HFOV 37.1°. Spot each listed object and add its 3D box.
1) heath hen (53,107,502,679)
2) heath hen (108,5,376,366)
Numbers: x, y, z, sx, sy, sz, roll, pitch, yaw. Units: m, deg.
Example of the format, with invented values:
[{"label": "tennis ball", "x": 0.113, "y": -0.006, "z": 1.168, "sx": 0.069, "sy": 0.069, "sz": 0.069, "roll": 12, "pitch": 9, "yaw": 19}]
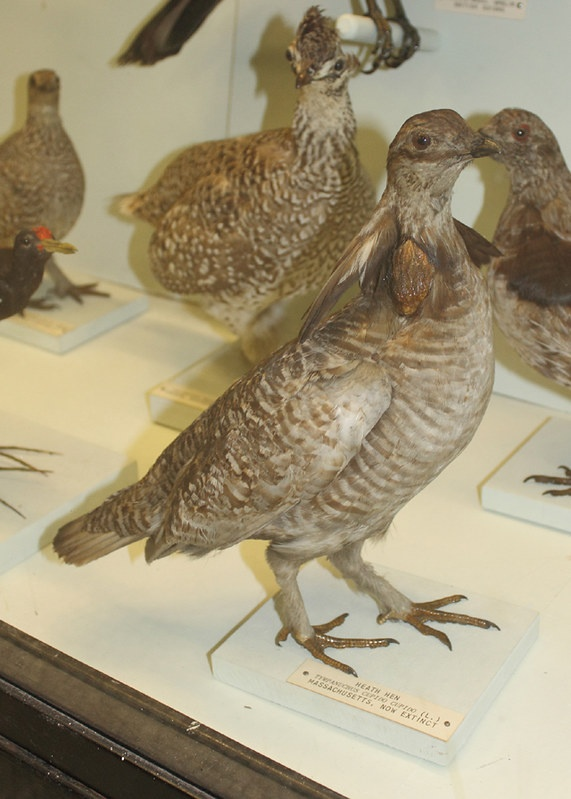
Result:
[{"label": "heath hen", "x": -0.031, "y": 0.017, "z": 1.074, "sx": 0.543, "sy": 0.734, "sz": 0.278, "roll": 8, "pitch": 38, "yaw": 7}, {"label": "heath hen", "x": 0.123, "y": -0.412, "z": 1.505, "sx": 0.530, "sy": 0.611, "sz": 0.367, "roll": 29, "pitch": 56, "yaw": 14}]
